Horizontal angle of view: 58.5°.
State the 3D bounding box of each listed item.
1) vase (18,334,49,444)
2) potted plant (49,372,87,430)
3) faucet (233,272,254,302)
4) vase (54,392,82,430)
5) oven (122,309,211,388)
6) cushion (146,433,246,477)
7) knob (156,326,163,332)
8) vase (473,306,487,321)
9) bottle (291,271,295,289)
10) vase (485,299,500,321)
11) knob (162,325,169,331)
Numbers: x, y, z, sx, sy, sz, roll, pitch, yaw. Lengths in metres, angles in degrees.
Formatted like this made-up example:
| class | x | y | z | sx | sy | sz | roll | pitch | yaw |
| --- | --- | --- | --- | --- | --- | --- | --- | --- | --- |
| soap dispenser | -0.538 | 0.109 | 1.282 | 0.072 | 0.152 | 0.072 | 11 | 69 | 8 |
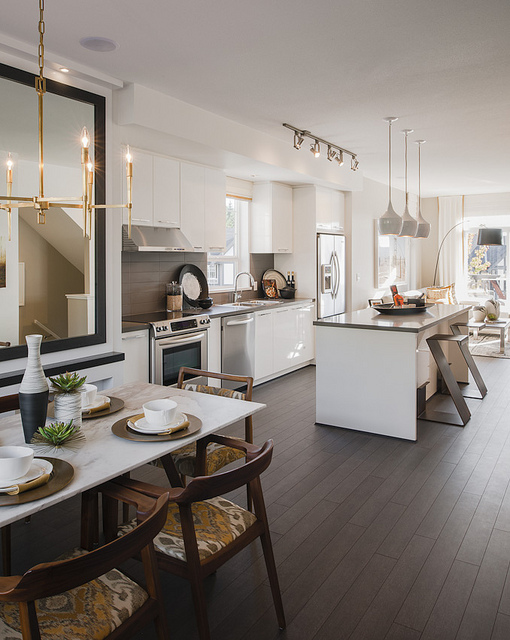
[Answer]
| class | x | y | z | sx | sy | sz | roll | pitch | yaw |
| --- | --- | --- | --- | --- | --- | --- | --- | --- | --- |
| vase | -0.721 | 0.221 | 1.489 | 0.088 | 0.335 | 0.095 | 1 | 2 | 2 |
| potted plant | -0.680 | 0.295 | 1.656 | 0.115 | 0.191 | 0.108 | -4 | 0 | -22 |
| faucet | -0.138 | -0.399 | 5.754 | 0.270 | 0.371 | 0.916 | 0 | 4 | -1 |
| vase | -0.661 | 0.317 | 1.630 | 0.113 | 0.127 | 0.109 | 1 | 3 | 6 |
| oven | -0.791 | 0.311 | 4.220 | 0.451 | 0.753 | 0.638 | 14 | 18 | 39 |
| cushion | -0.244 | 0.649 | 2.151 | 0.446 | 0.167 | 0.239 | -2 | 5 | -30 |
| knob | -0.793 | 0.079 | 3.801 | 0.012 | 0.047 | 0.070 | 2 | 5 | 26 |
| vase | 3.851 | -0.106 | 7.824 | 0.220 | 0.302 | 0.232 | 0 | -2 | 9 |
| bottle | 0.539 | -0.565 | 6.439 | 0.041 | 0.228 | 0.065 | 2 | 4 | 25 |
| vase | 4.074 | -0.164 | 7.856 | 0.213 | 0.336 | 0.526 | 2 | 5 | 27 |
| knob | -0.754 | 0.069 | 3.856 | 0.013 | 0.049 | 0.063 | 2 | 5 | 26 |
